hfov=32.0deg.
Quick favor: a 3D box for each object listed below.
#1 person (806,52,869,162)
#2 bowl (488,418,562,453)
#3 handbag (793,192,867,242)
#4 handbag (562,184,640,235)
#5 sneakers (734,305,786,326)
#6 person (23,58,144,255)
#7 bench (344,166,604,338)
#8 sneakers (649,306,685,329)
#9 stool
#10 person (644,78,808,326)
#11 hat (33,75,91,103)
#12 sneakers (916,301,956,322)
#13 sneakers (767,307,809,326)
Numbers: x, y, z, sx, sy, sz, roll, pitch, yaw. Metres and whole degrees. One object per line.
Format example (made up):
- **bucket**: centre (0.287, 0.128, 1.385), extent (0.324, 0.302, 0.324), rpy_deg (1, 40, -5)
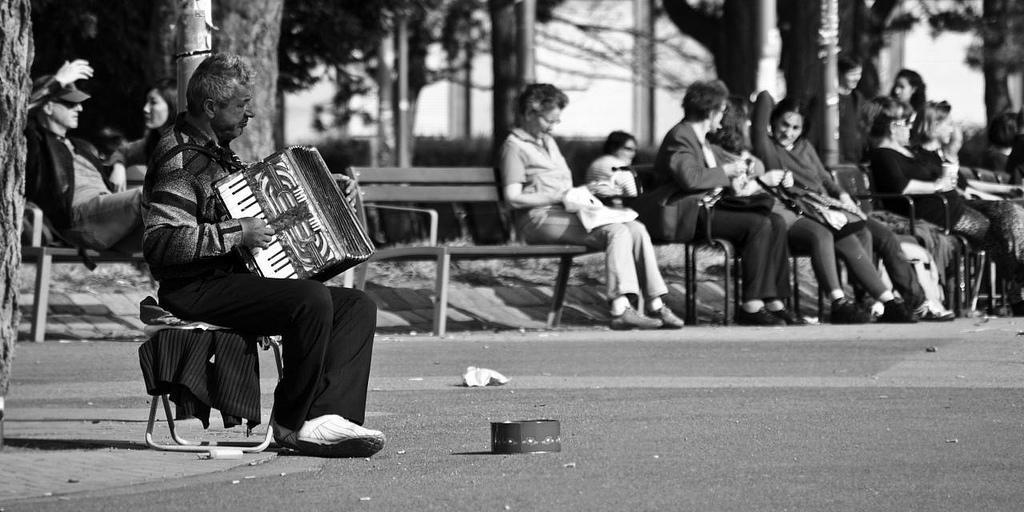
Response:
- **person**: centre (4.339, -1.776, 23.554), extent (0.959, 1.821, 0.577), rpy_deg (6, -39, 4)
- **bowl**: centre (0.135, 1.588, 15.525), extent (0.424, 0.204, 0.379), rpy_deg (1, -6, -20)
- **handbag**: centre (3.542, -0.499, 20.514), extent (0.493, 0.374, 0.141), rpy_deg (-16, -10, -25)
- **handbag**: centre (0.923, -0.511, 19.973), extent (0.649, 0.231, 0.634), rpy_deg (-3, 19, -45)
- **sneakers**: centre (2.788, 0.702, 20.149), extent (0.600, 0.168, 0.195), rpy_deg (1, 6, 5)
- **person**: centre (-4.525, -1.043, 19.014), extent (1.130, 2.073, 0.997), rpy_deg (3, 15, 14)
- **bench**: centre (-0.489, -0.116, 20.928), extent (1.526, 1.639, 3.233), rpy_deg (8, 6, 27)
- **sneakers**: centre (1.721, 0.703, 19.948), extent (0.426, 0.135, 0.206), rpy_deg (5, 10, 7)
- **stool**: centre (-2.623, 1.164, 15.618), extent (1.457, 1.062, 0.697), rpy_deg (1, -6, -5)
- **person**: centre (2.312, -0.578, 20.203), extent (1.748, 2.656, 0.937), rpy_deg (2, 15, 9)
- **hat**: centre (-4.722, -1.746, 18.869), extent (0.644, 0.183, 0.351), rpy_deg (0, 13, -4)
- **sneakers**: centre (4.875, 0.650, 20.674), extent (0.552, 0.190, 0.182), rpy_deg (0, 5, 10)
- **sneakers**: centre (3.130, 0.717, 20.184), extent (0.561, 0.162, 0.168), rpy_deg (12, 17, -16)
